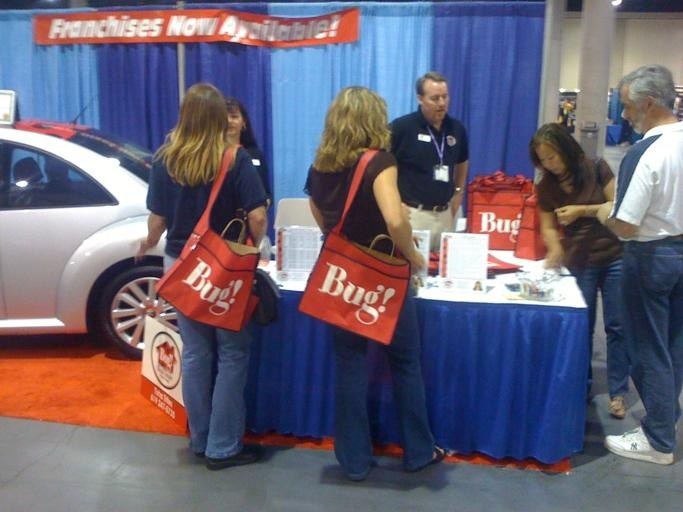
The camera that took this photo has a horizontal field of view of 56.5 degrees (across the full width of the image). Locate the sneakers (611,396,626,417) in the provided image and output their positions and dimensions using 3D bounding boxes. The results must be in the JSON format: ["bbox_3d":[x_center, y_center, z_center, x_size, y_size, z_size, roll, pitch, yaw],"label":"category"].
[{"bbox_3d":[1.589,0.878,3.648,0.055,0.066,0.144,-1,-5,15],"label":"sneakers"}]

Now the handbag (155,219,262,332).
[{"bbox_3d":[-0.620,0.084,3.035,0.424,0.410,0.245,22,7,-4],"label":"handbag"}]

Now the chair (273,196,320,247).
[{"bbox_3d":[-0.333,-0.239,4.378,0.335,0.547,0.340,0,3,-4],"label":"chair"}]

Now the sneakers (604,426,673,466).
[{"bbox_3d":[1.518,1.000,3.278,0.359,0.182,0.146,5,4,25],"label":"sneakers"}]

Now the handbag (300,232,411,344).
[{"bbox_3d":[0.083,0.155,2.953,0.434,0.422,0.157,26,0,-2],"label":"handbag"}]

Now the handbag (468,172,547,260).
[{"bbox_3d":[1.030,-0.274,4.059,0.562,0.585,0.467,2,9,12],"label":"handbag"}]
